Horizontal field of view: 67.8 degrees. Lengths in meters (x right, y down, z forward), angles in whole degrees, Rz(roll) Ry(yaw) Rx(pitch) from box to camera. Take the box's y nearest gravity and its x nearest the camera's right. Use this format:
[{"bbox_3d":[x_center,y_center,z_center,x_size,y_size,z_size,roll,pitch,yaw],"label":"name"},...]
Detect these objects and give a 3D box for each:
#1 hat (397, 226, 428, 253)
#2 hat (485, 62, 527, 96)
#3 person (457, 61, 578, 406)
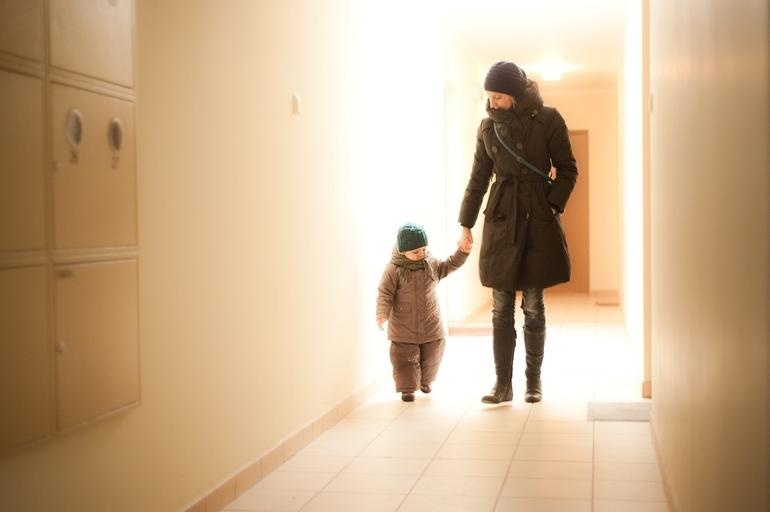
[{"bbox_3d":[0.181,-0.107,3.874,0.176,0.161,0.181,4,0,29],"label":"hat"},{"bbox_3d":[0.748,-1.137,3.581,0.225,0.185,0.227,5,10,-2],"label":"hat"},{"bbox_3d":[0.839,-0.138,3.651,0.729,2.158,0.372,-1,2,14],"label":"person"}]
